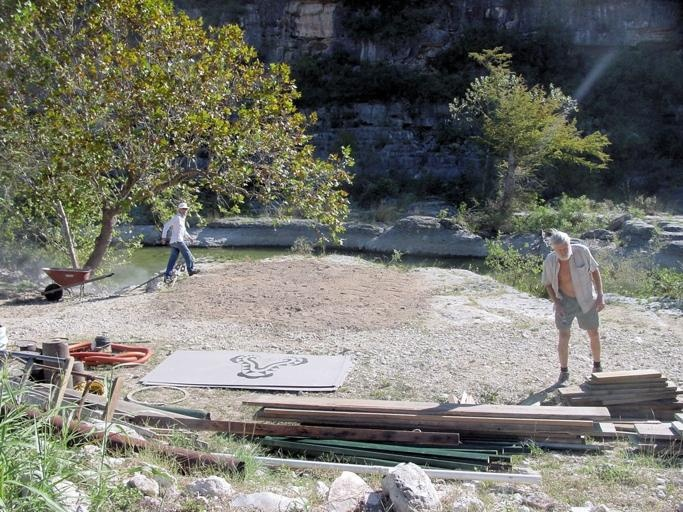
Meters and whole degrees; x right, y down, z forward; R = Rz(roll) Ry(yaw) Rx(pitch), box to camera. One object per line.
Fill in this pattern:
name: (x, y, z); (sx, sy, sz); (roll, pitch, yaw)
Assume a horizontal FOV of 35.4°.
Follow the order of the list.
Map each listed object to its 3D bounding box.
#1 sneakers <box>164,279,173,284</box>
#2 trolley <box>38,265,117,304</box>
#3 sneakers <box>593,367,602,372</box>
sneakers: (-4.875, 0.727, 30.147); (0.272, 0.162, 0.170); (5, 7, 7)
trolley: (-7.544, 0.818, 29.852); (2.331, 1.047, 0.891); (1, -2, 0)
sneakers: (5.754, 2.567, 24.139); (0.127, 0.122, 0.118); (-2, -8, 7)
